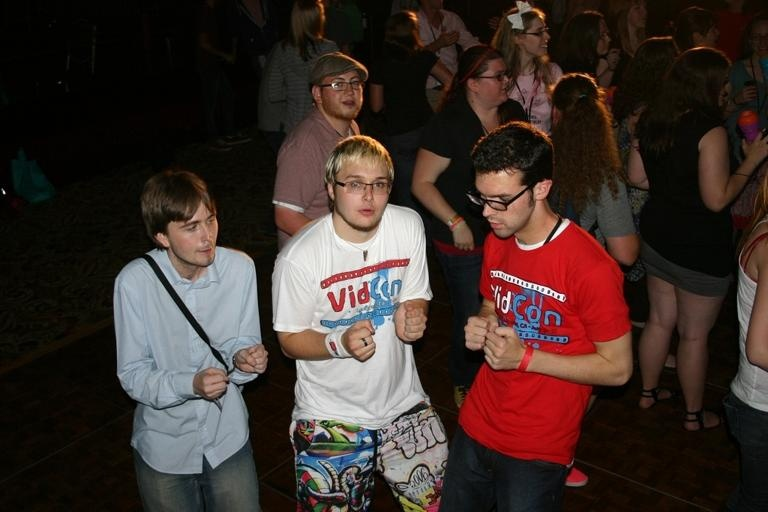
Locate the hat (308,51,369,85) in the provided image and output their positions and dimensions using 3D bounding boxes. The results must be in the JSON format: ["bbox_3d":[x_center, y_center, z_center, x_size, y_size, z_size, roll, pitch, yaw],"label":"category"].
[{"bbox_3d":[-0.420,-1.613,4.824,0.395,0.186,0.332,3,8,24],"label":"hat"}]

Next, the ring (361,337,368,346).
[{"bbox_3d":[-0.117,0.516,3.354,0.032,0.041,0.022,-3,27,-10],"label":"ring"}]

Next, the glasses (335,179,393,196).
[{"bbox_3d":[-0.133,-0.433,3.510,0.352,0.088,0.103,0,27,-4],"label":"glasses"}]

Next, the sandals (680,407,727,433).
[{"bbox_3d":[2.868,1.499,5.059,0.385,0.269,0.162,-12,47,0],"label":"sandals"}]

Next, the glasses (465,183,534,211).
[{"bbox_3d":[0.660,-0.368,3.366,0.385,0.160,0.176,21,33,33],"label":"glasses"}]

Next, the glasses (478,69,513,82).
[{"bbox_3d":[0.943,-1.528,4.753,0.274,0.085,0.080,-10,29,-23],"label":"glasses"}]

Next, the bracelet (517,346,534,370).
[{"bbox_3d":[0.822,0.608,3.247,0.062,0.139,0.083,17,30,27],"label":"bracelet"}]

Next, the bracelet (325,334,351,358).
[{"bbox_3d":[-0.285,0.556,3.464,0.116,0.129,0.157,-1,-6,9],"label":"bracelet"}]
